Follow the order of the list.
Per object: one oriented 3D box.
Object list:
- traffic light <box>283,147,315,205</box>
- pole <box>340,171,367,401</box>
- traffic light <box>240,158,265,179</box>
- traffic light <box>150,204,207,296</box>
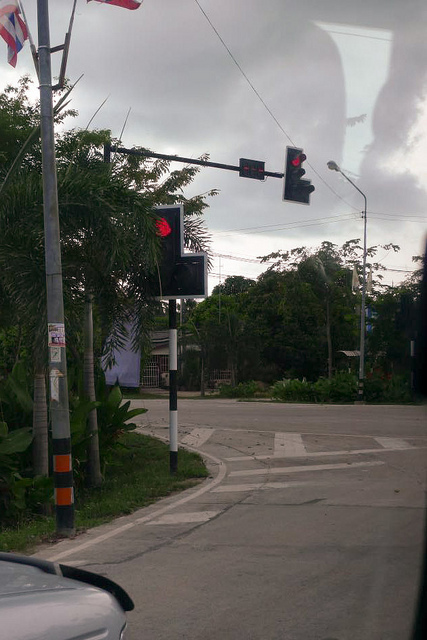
[{"bbox_3d":[1.426,-2.480,13.223,0.474,1.037,0.794,0,-1,5],"label":"traffic light"},{"bbox_3d":[3.910,0.261,21.756,0.427,5.089,0.713,0,1,2],"label":"pole"},{"bbox_3d":[0.669,-2.706,13.785,0.616,0.326,0.134,2,-2,-38],"label":"traffic light"},{"bbox_3d":[-0.482,-0.992,10.789,0.770,1.283,0.491,0,-1,-1],"label":"traffic light"}]
